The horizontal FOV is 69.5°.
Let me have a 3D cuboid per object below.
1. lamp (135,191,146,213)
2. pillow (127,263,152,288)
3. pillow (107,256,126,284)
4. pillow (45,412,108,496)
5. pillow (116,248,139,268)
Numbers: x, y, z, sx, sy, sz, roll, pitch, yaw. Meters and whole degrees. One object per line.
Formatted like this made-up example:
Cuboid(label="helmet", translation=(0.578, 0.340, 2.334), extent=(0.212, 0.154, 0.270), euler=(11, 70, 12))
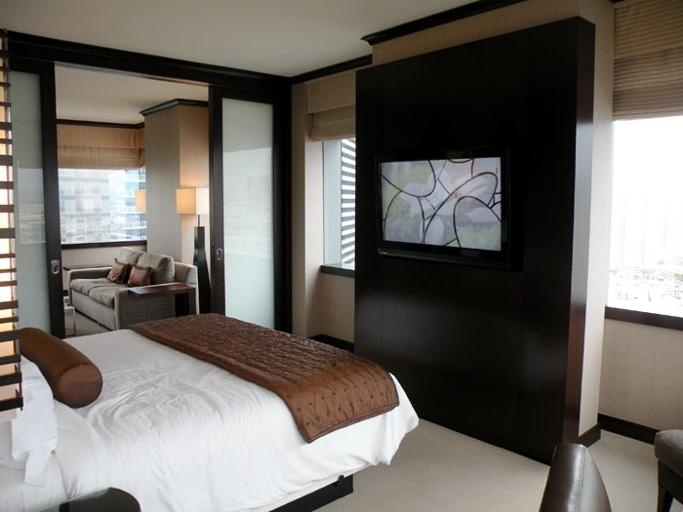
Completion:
Cuboid(label="lamp", translation=(-3.508, -0.962, 8.635), extent=(0.173, 0.374, 0.676), euler=(-5, 13, -22))
Cuboid(label="pillow", translation=(-2.684, 0.272, 6.606), extent=(0.289, 0.226, 0.104), euler=(5, 6, 43))
Cuboid(label="pillow", translation=(-3.447, 0.233, 7.583), extent=(0.165, 0.266, 0.327), euler=(26, -7, -31))
Cuboid(label="pillow", translation=(-1.198, 0.925, 2.251), extent=(0.182, 0.152, 0.570), euler=(3, 16, -36))
Cuboid(label="pillow", translation=(-3.182, -0.004, 7.482), extent=(0.329, 0.361, 0.105), euler=(-5, -26, 40))
